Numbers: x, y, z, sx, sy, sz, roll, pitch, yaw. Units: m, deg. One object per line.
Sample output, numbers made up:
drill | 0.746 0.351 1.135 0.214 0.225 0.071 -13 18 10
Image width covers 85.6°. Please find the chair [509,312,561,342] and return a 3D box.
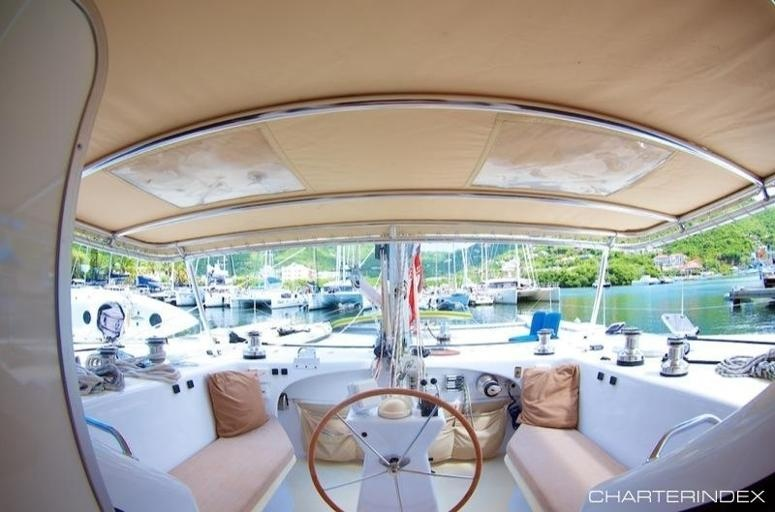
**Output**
chair | 1.645 0.811 4.675 0.436 0.270 0.422 1 -10 -20

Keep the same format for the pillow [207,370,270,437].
pillow | -1.222 1.194 3.357 0.208 0.381 0.411 -22 -20 32

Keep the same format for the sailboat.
sailboat | -0.783 0.555 5.044 5.283 1.213 3.196 -2 -14 0

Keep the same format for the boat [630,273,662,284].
boat | 2.855 0.269 4.591 0.201 0.139 0.314 -2 -14 0
